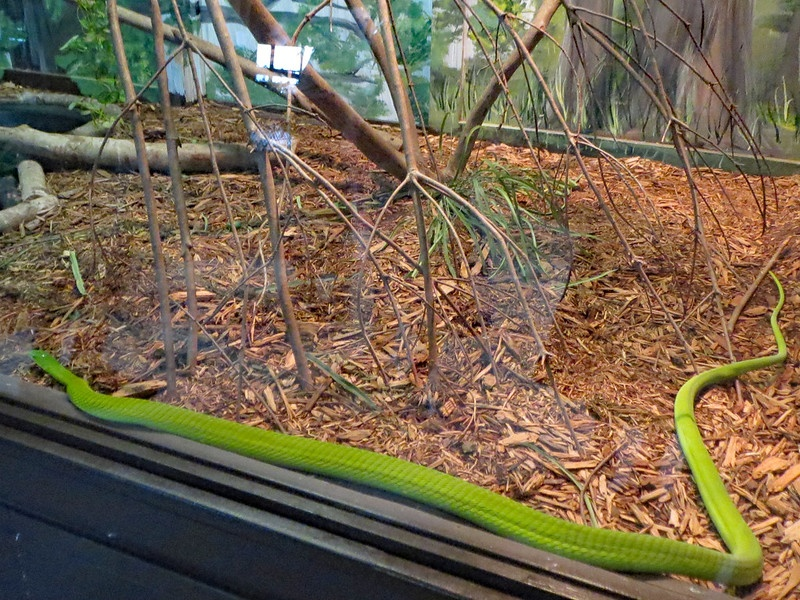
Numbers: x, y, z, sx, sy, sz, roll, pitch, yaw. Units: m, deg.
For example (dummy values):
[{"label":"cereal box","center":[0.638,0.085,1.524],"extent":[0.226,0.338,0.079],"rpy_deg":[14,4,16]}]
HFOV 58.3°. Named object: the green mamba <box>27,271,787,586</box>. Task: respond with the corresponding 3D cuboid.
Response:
[{"label":"green mamba","center":[-0.050,0.403,1.979],"extent":[1.922,0.235,0.694],"rpy_deg":[10,30,15]}]
